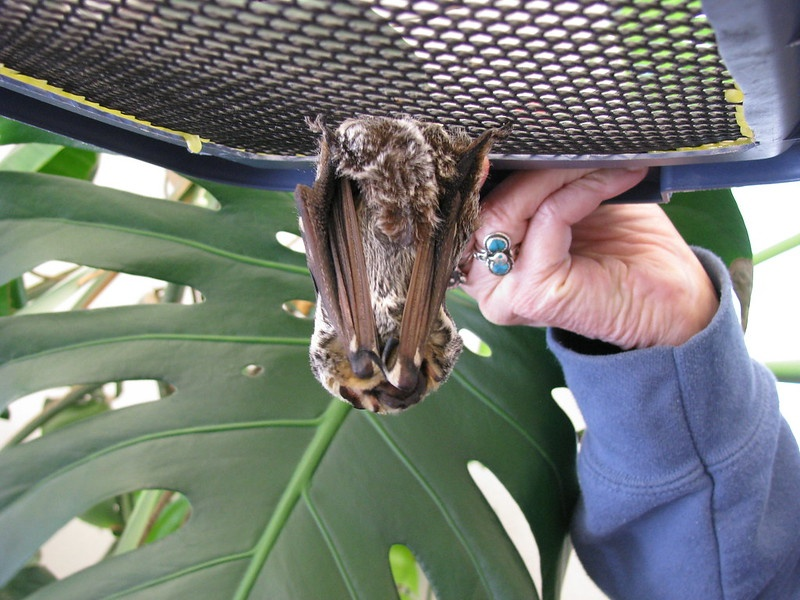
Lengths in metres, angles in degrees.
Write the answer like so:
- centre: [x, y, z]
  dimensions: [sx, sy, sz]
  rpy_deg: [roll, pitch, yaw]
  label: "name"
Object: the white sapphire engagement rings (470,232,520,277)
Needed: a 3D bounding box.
- centre: [0.145, -0.058, 0.972]
  dimensions: [0.069, 0.078, 0.028]
  rpy_deg: [3, -30, 7]
  label: "white sapphire engagement rings"
